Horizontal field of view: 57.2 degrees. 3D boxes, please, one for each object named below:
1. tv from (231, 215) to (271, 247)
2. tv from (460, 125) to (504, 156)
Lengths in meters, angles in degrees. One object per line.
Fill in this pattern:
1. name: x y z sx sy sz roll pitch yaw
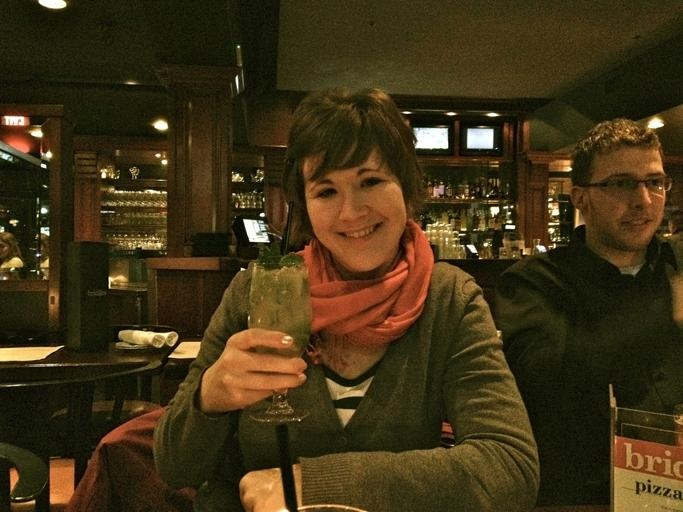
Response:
1. tv: -0.729 -0.202 5.071 0.194 0.235 0.369 -14 -6 27
2. tv: 1.701 -1.388 7.533 0.625 0.407 0.324 0 -1 -1
